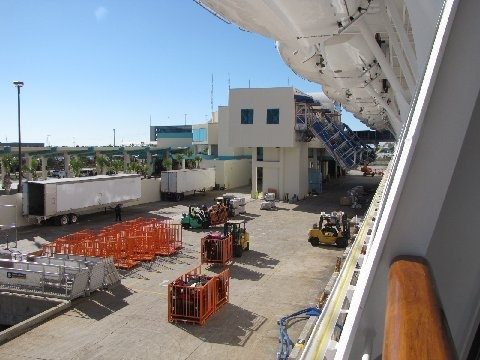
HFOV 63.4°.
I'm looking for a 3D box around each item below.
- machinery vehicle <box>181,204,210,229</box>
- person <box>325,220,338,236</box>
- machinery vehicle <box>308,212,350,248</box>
[{"bbox_3d":[-3.602,2.706,31.377,2.426,2.111,1.440,1,9,-2],"label":"machinery vehicle"},{"bbox_3d":[6.059,3.234,25.903,0.885,1.033,0.418,-1,3,13],"label":"person"},{"bbox_3d":[6.186,3.458,26.813,2.628,2.517,1.910,0,4,17],"label":"machinery vehicle"}]
